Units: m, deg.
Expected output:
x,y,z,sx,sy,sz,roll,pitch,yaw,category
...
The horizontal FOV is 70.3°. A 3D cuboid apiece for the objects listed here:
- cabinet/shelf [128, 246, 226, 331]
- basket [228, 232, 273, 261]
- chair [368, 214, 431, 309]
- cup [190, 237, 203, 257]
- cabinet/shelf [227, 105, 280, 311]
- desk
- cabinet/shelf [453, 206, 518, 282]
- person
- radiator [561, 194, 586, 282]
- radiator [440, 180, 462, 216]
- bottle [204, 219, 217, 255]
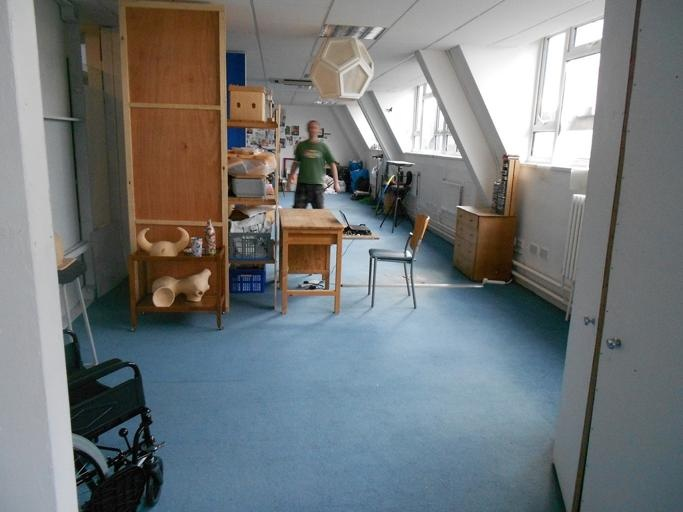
x,y,z,sx,sy,sz,roll,pitch,yaw,category
-1.574,0.299,4.720,0.845,0.752,0.758,0,5,-2,cabinet/shelf
-0.930,-0.096,4.984,0.464,0.318,0.265,0,3,-10,basket
0.595,0.014,5.360,0.534,0.845,0.480,1,11,-6,chair
-1.305,-0.087,4.400,0.101,0.148,0.154,-5,12,-17,cup
-1.115,-0.835,6.496,0.620,2.046,3.773,-3,12,-7,cabinet/shelf
-0.357,0.070,5.376,0.605,0.901,1.301,0,8,-10,desk
1.838,-0.158,6.396,0.472,0.845,0.839,-1,13,-5,cabinet/shelf
-0.361,-1.221,6.534,0.683,1.258,1.578,-2,12,-4,person
2.354,-0.161,4.934,0.126,0.940,0.363,1,12,11,radiator
1.870,-1.006,8.286,0.106,0.666,0.686,-3,16,-15,radiator
-1.226,-0.191,4.545,0.121,0.295,0.411,-4,12,-15,bottle
